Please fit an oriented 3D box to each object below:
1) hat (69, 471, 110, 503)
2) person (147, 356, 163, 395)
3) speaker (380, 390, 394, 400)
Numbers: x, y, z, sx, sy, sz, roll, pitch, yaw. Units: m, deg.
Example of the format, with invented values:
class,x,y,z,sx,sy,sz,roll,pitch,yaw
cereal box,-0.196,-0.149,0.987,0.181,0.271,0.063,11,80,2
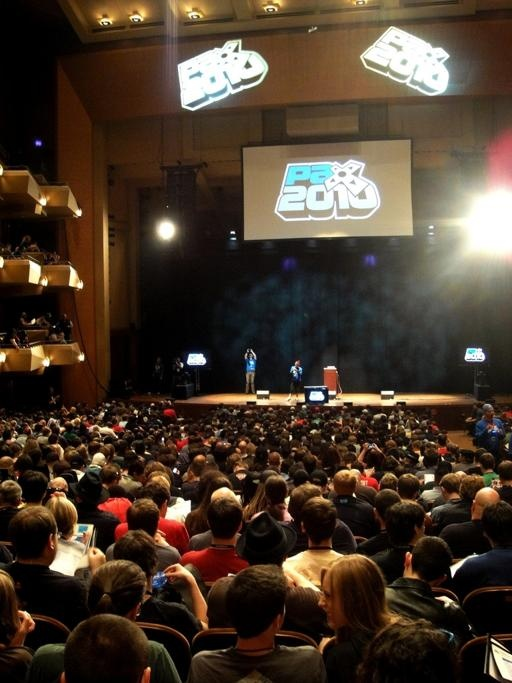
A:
class,x,y,z,sx,sy,sz,roll,pitch,yaw
hat,-1.243,1.103,4.302,0.222,0.219,0.213,0,-2,-16
person,-3.885,1.318,22.749,0.479,1.467,1.922,0,-2,-10
speaker,4.115,1.708,18.112,0.528,0.320,0.522,0,-4,3
